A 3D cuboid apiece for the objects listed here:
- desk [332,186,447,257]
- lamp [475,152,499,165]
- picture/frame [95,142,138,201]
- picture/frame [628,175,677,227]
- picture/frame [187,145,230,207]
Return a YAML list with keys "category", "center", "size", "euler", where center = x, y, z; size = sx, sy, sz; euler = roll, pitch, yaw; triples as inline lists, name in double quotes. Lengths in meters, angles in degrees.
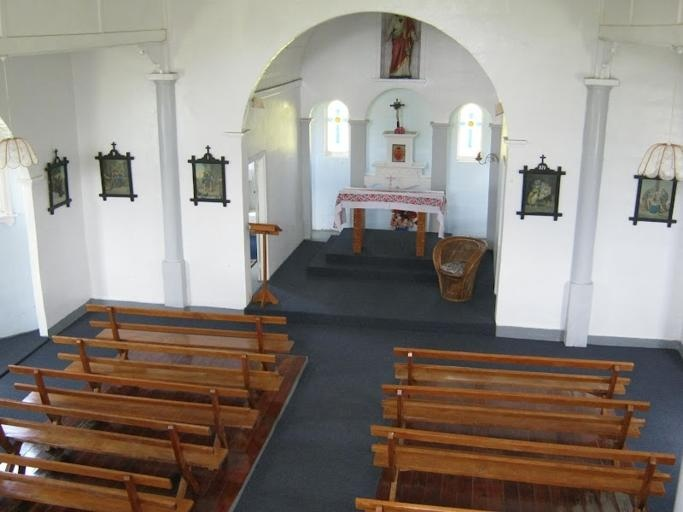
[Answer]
- category: "desk"
  center: [1.179, -0.783, 12.512]
  size: [2.537, 1.583, 1.176]
  euler: [5, 10, 13]
- category: "lamp"
  center: [3.852, -2.590, 13.987]
  size: [0.678, 0.373, 0.209]
  euler: [-2, 26, -11]
- category: "picture/frame"
  center: [-4.443, -1.675, 10.474]
  size: [0.788, 1.107, 0.101]
  euler: [1, 11, 11]
- category: "picture/frame"
  center: [5.408, -1.005, 9.160]
  size: [0.806, 1.014, 0.067]
  euler: [3, 19, 10]
- category: "picture/frame"
  center: [-2.523, -1.609, 10.163]
  size: [1.086, 1.589, 0.071]
  euler: [2, 20, 1]
